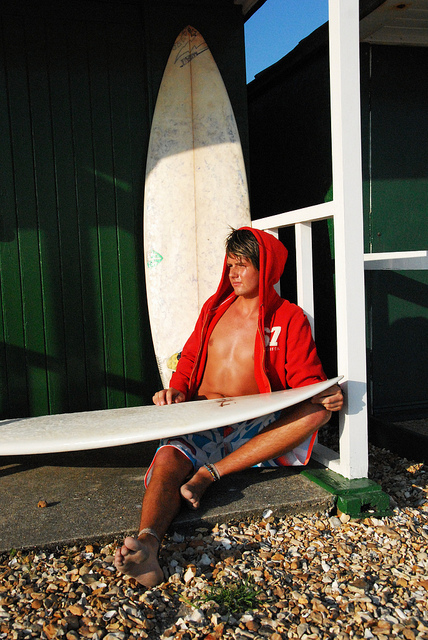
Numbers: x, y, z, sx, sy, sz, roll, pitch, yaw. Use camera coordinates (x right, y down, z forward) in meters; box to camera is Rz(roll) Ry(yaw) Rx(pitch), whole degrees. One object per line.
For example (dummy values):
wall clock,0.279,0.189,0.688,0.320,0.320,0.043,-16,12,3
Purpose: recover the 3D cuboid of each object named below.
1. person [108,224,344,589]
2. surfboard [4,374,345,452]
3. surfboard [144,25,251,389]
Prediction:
person,0.079,0.197,2.346,0.794,0.968,1.498,3,14,13
surfboard,-0.169,0.375,2.593,1.089,0.120,0.256,-12,-8,8
surfboard,-0.138,-0.683,3.592,0.502,2.085,0.221,-1,-1,-12
